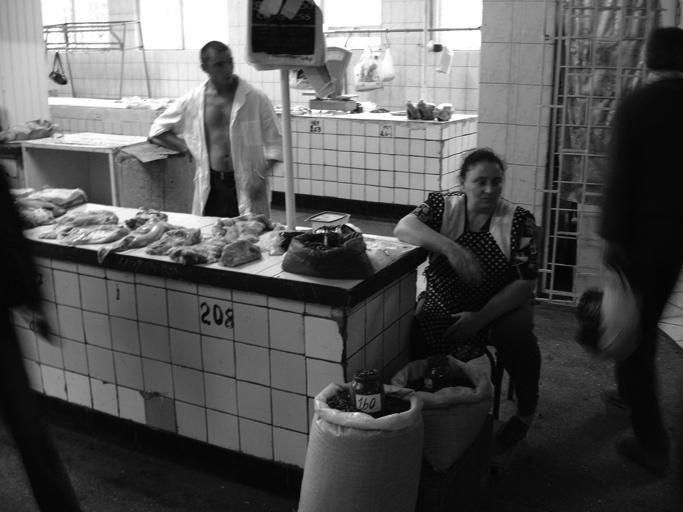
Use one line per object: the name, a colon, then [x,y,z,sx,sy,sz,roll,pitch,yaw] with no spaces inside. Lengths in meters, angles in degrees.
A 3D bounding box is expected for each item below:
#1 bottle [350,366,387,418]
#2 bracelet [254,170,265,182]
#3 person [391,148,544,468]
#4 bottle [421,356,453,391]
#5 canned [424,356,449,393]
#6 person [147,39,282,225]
bottle: [0.104,0.535,2.273,0.171,0.167,0.123,7,12,37]
bracelet: [-0.642,-0.641,4.577,0.070,0.064,0.017,-4,-11,-39]
person: [0.683,0.352,3.059,0.786,1.319,0.349,7,20,15]
bottle: [0.425,0.528,2.602,0.158,0.203,0.116,0,9,1]
canned: [0.428,0.531,2.579,0.130,0.170,0.119,3,10,6]
person: [-0.975,-0.888,4.640,0.982,1.093,0.539,2,19,2]
